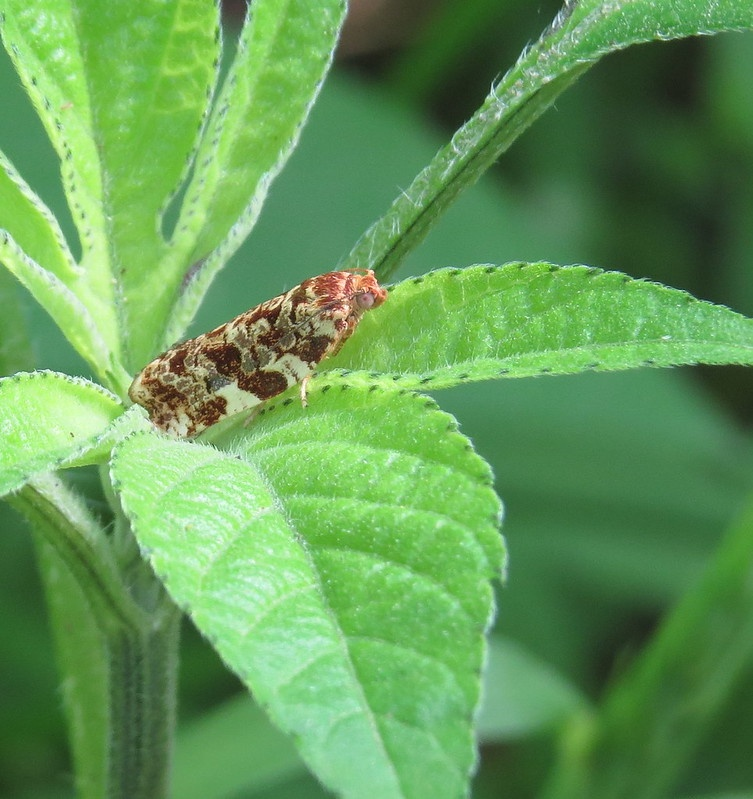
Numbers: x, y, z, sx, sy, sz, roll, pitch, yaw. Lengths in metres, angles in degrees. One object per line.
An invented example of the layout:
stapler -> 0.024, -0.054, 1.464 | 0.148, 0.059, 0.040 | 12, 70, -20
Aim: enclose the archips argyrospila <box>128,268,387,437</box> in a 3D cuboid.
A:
archips argyrospila -> -0.108, -0.055, 0.946 | 0.250, 0.141, 0.093 | -19, -53, -12
